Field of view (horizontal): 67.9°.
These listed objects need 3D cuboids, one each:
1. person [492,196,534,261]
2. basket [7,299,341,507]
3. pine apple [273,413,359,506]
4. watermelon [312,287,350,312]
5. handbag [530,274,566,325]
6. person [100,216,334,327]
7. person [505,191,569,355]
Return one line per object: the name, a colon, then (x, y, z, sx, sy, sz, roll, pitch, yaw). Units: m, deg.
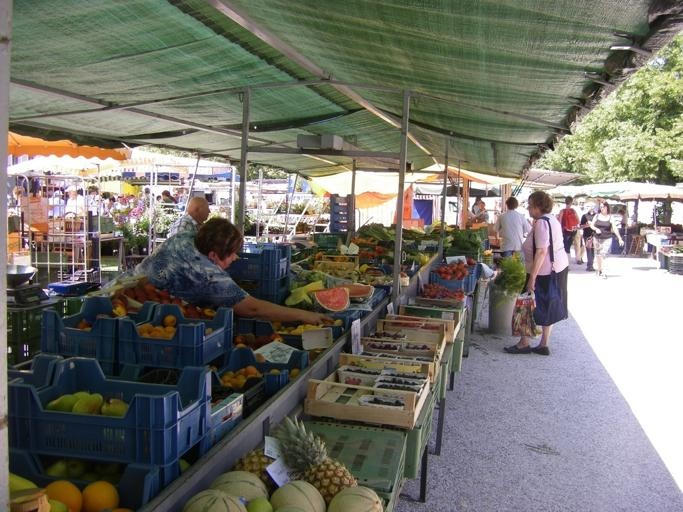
person: (3.590, -0.383, 10.807, 0.748, 1.630, 0.584, -1, 19, 4)
basket: (-1.054, 0.714, 2.358, 0.841, 0.432, 0.976, -3, 10, -32)
pine apple: (-0.132, 0.987, 2.442, 0.289, 0.263, 0.484, 11, 12, 33)
watermelon: (-0.089, 0.398, 4.809, 0.284, 0.138, 0.223, 0, -4, -15)
handbag: (3.170, 0.621, 7.884, 0.525, 0.748, 0.531, 5, 10, 6)
person: (-1.032, 0.002, 4.356, 1.635, 0.594, 0.783, 13, 15, 5)
person: (3.059, 0.281, 8.073, 1.135, 2.516, 1.006, 0, 0, 36)
